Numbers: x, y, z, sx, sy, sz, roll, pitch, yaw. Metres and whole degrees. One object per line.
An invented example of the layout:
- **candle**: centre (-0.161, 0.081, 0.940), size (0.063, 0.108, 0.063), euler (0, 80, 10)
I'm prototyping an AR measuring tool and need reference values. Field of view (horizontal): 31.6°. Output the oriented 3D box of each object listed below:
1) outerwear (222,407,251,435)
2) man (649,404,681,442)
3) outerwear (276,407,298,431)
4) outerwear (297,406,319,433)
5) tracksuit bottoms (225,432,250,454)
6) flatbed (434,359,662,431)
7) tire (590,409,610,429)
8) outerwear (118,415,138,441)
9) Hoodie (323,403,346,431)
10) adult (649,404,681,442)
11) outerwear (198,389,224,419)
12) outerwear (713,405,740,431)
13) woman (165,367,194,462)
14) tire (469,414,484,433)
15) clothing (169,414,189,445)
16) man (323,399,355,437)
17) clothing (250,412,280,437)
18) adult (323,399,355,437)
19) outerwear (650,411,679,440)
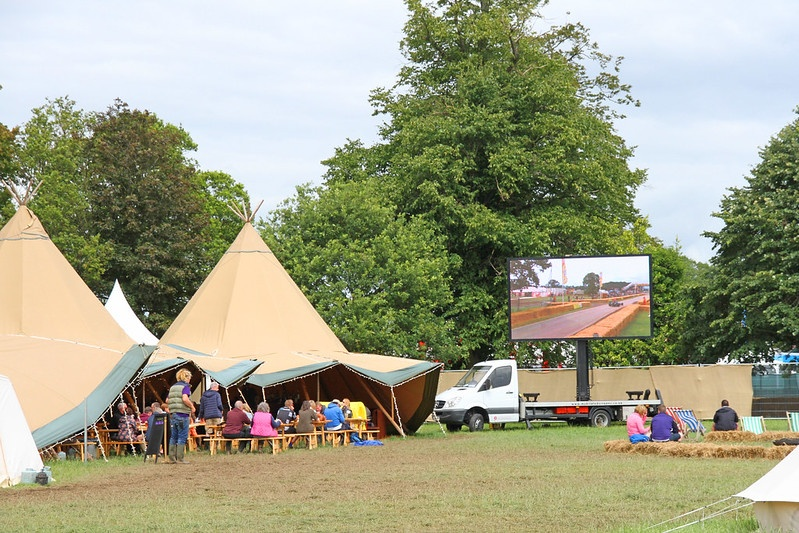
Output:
- **outerwear**: centre (-5.551, 5.235, 46.735), size (0.732, 0.851, 0.915), euler (4, 0, 23)
- **man**: centre (8.855, 5.328, 47.125), size (1.427, 1.425, 1.094), euler (2, 5, 26)
- **outerwear**: centre (-3.834, 5.241, 48.060), size (0.714, 0.761, 0.727), euler (-2, -2, 7)
- **outerwear**: centre (-3.120, 5.269, 47.669), size (0.955, 0.946, 0.556), euler (3, -10, 8)
- **tracksuit bottoms**: centre (-5.300, 5.914, 46.637), size (0.791, 0.425, 0.745), euler (-1, -9, 5)
- **flatbed**: centre (5.893, 5.242, 56.025), size (10.143, 2.421, 2.342), euler (4, -5, -29)
- **tire**: centre (7.728, 6.034, 54.820), size (0.692, 0.612, 0.234), euler (-2, -8, -2)
- **outerwear**: centre (-8.865, 5.350, 46.070), size (0.623, 0.864, 0.748), euler (1, -6, -19)
- **Hoodie**: centre (-2.254, 5.255, 48.359), size (1.012, 1.006, 0.605), euler (0, 4, 6)
- **adult**: centre (8.855, 5.328, 47.125), size (1.427, 1.425, 1.094), euler (2, 5, 26)
- **outerwear**: centre (-6.251, 4.629, 46.633), size (0.639, 0.997, 1.249), euler (0, -6, -8)
- **outerwear**: centre (11.118, 5.236, 48.133), size (0.890, 1.059, 0.783), euler (-1, -4, 12)
- **woman**: centre (-7.063, 4.729, 44.525), size (1.021, 2.597, 1.051), euler (10, 2, 8)
- **tire**: centre (2.858, 5.989, 53.258), size (0.230, 0.580, 0.632), euler (-7, -11, 39)
- **clothing**: centre (-6.916, 5.172, 44.203), size (0.580, 1.005, 0.396), euler (0, -6, -9)
- **man**: centre (-2.193, 5.221, 48.740), size (0.943, 1.044, 0.991), euler (4, -8, -40)
- **clothing**: centre (-4.500, 5.290, 46.877), size (0.830, 0.669, 0.830), euler (1, 3, 2)
- **adult**: centre (-2.163, 5.162, 48.518), size (1.139, 1.050, 0.973), euler (-3, -4, 21)
- **outerwear**: centre (8.668, 5.322, 46.288), size (1.084, 0.938, 0.951), euler (2, 3, 18)
